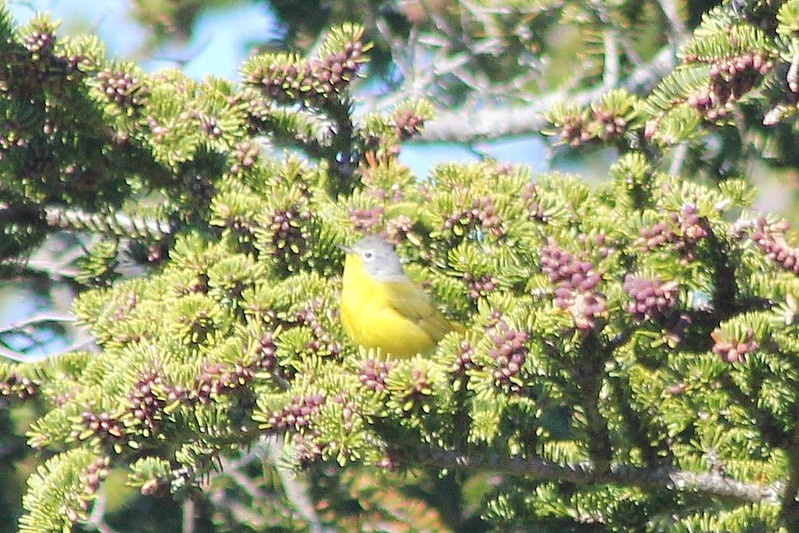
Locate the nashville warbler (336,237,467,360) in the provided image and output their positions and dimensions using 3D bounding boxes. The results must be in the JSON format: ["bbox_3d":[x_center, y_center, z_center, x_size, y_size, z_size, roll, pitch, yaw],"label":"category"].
[{"bbox_3d":[-0.067,0.188,11.260,0.837,0.475,0.646,14,76,-12],"label":"nashville warbler"}]
